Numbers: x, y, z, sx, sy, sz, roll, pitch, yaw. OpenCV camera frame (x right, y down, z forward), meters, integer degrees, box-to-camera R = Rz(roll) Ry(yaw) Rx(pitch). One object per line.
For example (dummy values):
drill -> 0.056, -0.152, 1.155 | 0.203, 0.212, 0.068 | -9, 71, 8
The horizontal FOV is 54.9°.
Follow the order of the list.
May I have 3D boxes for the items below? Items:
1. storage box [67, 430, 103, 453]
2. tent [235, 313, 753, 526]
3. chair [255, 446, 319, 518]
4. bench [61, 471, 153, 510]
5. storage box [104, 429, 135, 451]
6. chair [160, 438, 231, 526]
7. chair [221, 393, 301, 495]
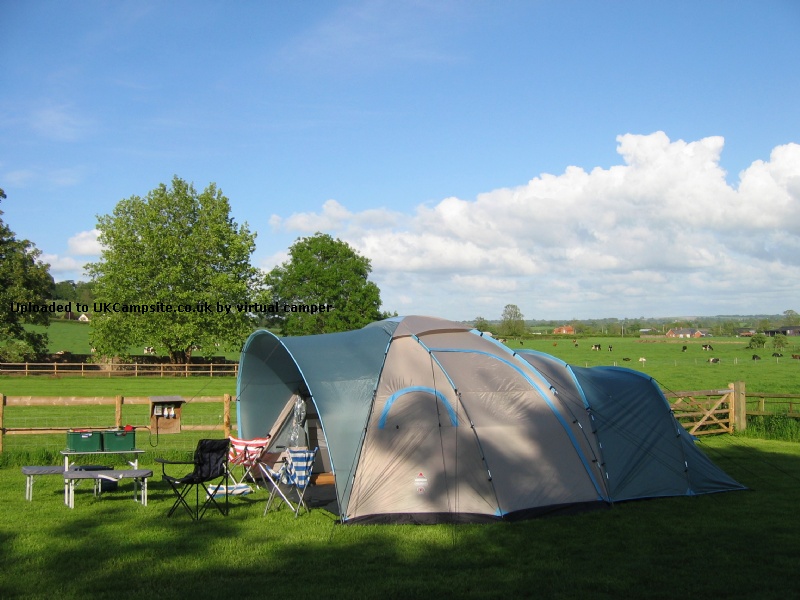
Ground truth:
storage box -> -6.939, 3.090, 16.907 | 0.718, 0.469, 0.525 | -1, 3, -22
tent -> 2.123, 2.227, 19.009 | 10.261, 3.653, 8.282 | 2, 1, -13
chair -> -2.302, 3.829, 16.515 | 1.624, 1.584, 1.306 | -3, -8, 20
bench -> -6.320, 4.053, 16.449 | 1.686, 0.711, 1.258 | 4, -8, -33
storage box -> -6.246, 3.096, 17.009 | 0.495, 0.331, 0.484 | 2, -4, -30
chair -> -4.257, 3.692, 16.008 | 1.167, 1.653, 1.259 | -3, -7, 34
chair -> -3.174, 3.465, 18.725 | 2.106, 2.823, 1.749 | 2, -10, -20
